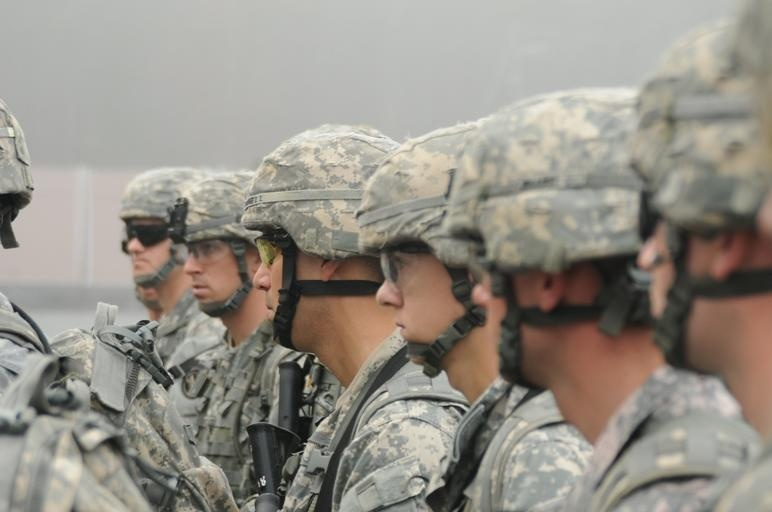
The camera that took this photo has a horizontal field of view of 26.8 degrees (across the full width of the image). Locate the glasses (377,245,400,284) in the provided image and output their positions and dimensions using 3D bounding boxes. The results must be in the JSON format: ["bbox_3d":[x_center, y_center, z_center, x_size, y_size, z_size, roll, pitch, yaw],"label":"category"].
[{"bbox_3d":[0.038,0.091,14.695,0.167,0.310,0.071,-10,9,37],"label":"glasses"}]
